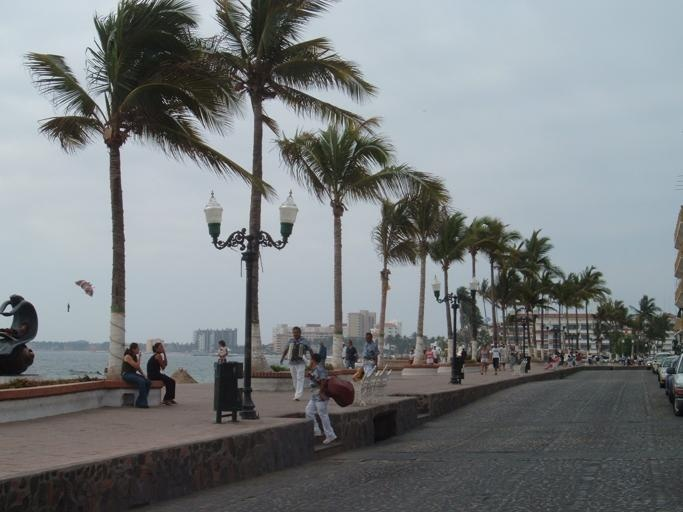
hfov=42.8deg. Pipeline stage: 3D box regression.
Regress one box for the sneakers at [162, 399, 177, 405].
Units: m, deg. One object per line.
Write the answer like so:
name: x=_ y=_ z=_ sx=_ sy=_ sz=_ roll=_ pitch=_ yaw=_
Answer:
sneakers: x=-4.571 y=3.871 z=23.014 sx=0.359 sy=0.176 sz=0.130 roll=-6 pitch=-2 yaw=15

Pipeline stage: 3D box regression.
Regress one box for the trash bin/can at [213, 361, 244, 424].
trash bin/can: x=-2.518 y=2.959 z=19.031 sx=0.405 sy=1.319 sz=0.779 roll=-5 pitch=-10 yaw=34
